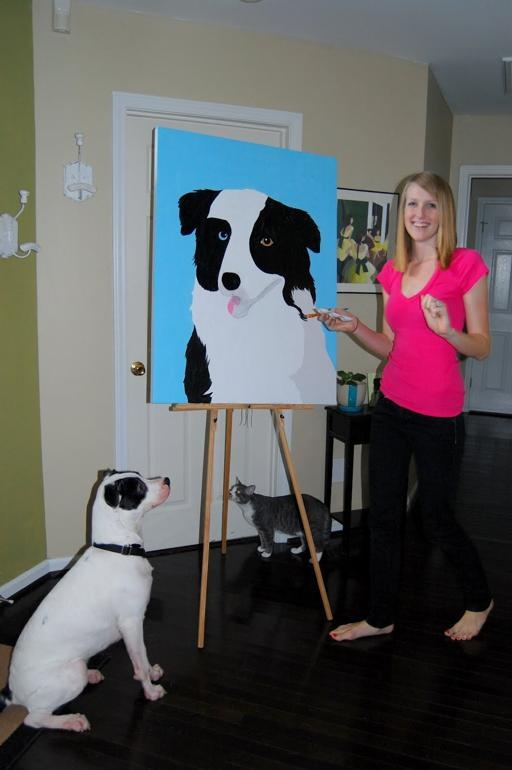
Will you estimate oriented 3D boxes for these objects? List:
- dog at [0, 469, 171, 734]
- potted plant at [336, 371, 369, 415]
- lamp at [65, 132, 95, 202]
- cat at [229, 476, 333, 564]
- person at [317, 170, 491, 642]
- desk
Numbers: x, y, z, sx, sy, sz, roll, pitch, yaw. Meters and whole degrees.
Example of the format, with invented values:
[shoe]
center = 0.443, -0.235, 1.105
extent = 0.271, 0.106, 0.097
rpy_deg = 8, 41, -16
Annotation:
[dog]
center = -0.459, 0.597, 1.707
extent = 0.266, 0.659, 0.457
rpy_deg = 5, 7, 36
[potted plant]
center = 0.469, 0.050, 2.860
extent = 0.176, 0.184, 0.148
rpy_deg = -2, 4, -45
[lamp]
center = -0.688, -0.843, 2.349
extent = 0.116, 0.249, 0.041
rpy_deg = -1, 6, -20
[cat]
center = 0.109, 0.620, 2.752
extent = 0.488, 0.355, 0.158
rpy_deg = 4, 6, -2
[person]
center = 0.578, 0.134, 1.976
extent = 0.469, 1.554, 0.466
rpy_deg = -3, 7, -33
[desk]
center = 0.379, 0.425, 2.892
extent = 0.205, 0.569, 0.325
rpy_deg = 1, -13, -6
